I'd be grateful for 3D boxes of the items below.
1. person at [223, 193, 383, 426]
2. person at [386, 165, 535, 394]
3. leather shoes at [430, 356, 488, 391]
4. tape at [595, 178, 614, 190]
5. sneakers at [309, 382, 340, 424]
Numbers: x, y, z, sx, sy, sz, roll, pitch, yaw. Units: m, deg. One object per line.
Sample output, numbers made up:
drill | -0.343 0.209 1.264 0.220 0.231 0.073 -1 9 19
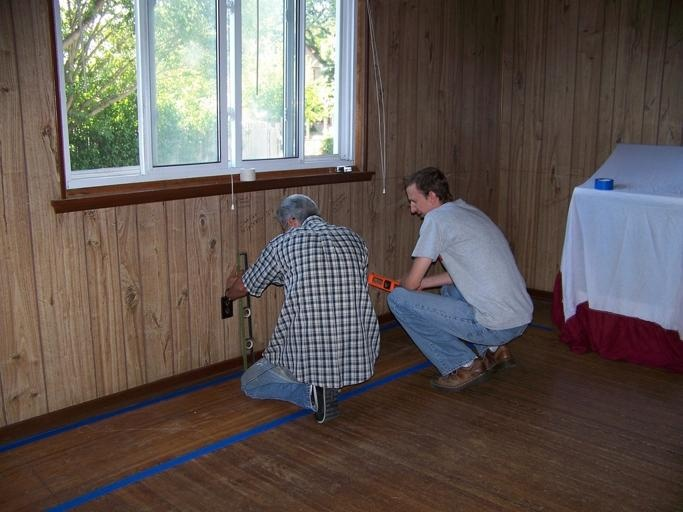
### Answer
person | -0.249 0.320 3.161 0.890 1.235 0.825 0 2 -1
person | 0.761 0.146 3.462 0.905 1.380 0.716 0 9 41
leather shoes | 0.767 0.744 3.457 0.343 0.249 0.150 -4 12 -8
tape | 1.898 -0.515 3.812 0.127 0.073 0.093 0 12 29
sneakers | -0.106 0.780 2.963 0.110 0.283 0.098 2 1 41
